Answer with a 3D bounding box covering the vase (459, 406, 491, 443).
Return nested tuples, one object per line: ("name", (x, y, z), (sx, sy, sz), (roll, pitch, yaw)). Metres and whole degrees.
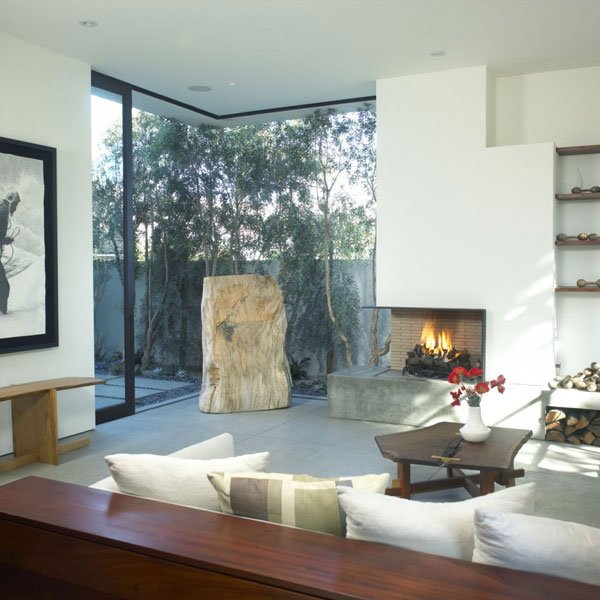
("vase", (1.163, 0.844, 3.497), (0.194, 0.234, 0.209), (-1, 1, 21))
